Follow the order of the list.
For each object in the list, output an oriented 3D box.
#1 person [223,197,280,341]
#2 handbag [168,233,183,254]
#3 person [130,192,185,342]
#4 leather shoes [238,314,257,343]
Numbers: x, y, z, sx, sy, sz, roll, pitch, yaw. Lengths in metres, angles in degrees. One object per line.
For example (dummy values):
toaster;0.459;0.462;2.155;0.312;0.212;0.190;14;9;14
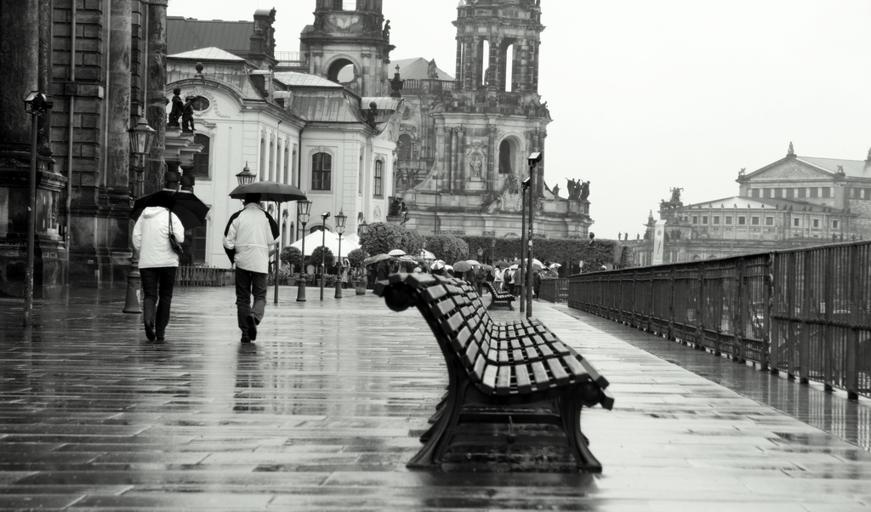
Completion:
person;-2.956;0.189;16.784;0.849;1.640;1.049;2;1;-10
handbag;-4.041;-0.183;16.322;0.120;0.285;0.305;-29;5;2
person;-4.319;0.145;16.341;0.753;2.369;0.993;2;1;-15
leather shoes;-2.939;1.172;16.402;0.194;0.481;0.217;2;21;5
